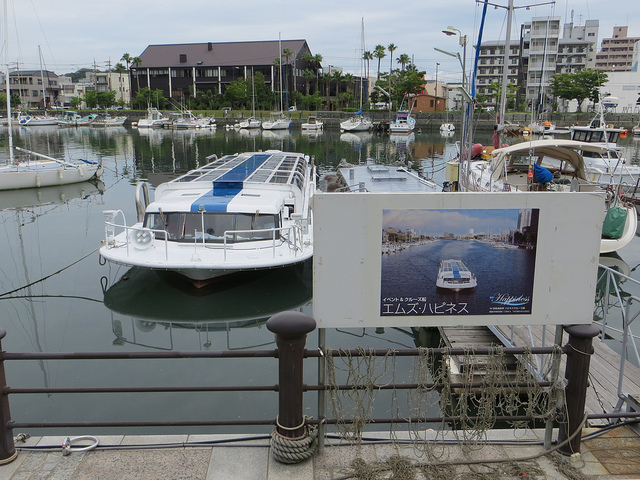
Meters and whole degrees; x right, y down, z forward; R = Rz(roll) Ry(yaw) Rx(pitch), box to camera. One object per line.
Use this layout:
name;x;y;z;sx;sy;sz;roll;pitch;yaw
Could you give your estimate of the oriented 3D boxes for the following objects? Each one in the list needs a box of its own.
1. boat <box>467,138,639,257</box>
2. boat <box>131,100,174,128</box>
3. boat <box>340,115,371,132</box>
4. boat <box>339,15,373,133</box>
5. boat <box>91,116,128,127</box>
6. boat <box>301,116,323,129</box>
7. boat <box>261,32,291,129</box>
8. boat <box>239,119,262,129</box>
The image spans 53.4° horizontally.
boat;7.296;-2.043;20.228;4.120;3.432;8.938;1;12;5
boat;-25.473;-19.344;96.734;5.744;3.408;13.980;-6;17;-15
boat;4.756;-15.187;83.448;2.922;1.794;3.955;6;18;23
boat;5.065;-21.383;85.633;2.935;15.021;12.698;3;5;-14
boat;-32.726;-17.627;96.912;5.232;1.819;2.213;1;33;-1
boat;-1.107;-15.776;85.693;2.281;1.518;4.340;-1;21;1
boat;-6.216;-21.558;88.995;2.900;13.778;7.363;-3;4;-37
boat;-9.507;-15.742;86.302;2.331;0.909;1.320;-6;14;-24
